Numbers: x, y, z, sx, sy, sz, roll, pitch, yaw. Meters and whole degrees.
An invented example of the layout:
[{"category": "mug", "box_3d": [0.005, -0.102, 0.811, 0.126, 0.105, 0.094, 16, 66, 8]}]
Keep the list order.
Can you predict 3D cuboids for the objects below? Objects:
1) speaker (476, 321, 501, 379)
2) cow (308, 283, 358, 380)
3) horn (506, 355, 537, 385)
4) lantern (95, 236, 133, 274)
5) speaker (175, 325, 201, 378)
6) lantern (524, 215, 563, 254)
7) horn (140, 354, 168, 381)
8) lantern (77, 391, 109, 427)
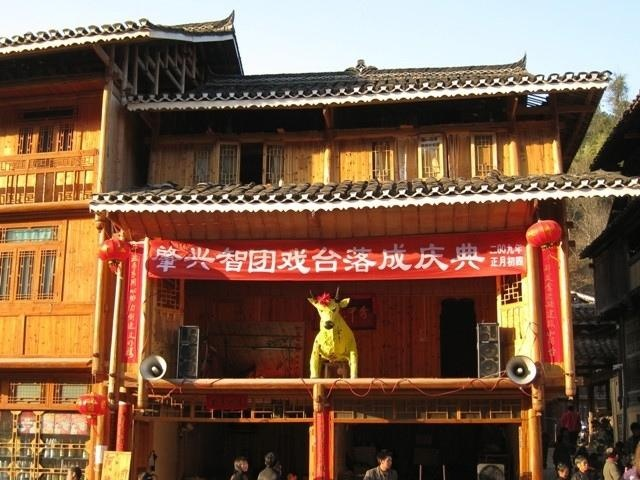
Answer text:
[{"category": "speaker", "box_3d": [3.798, 2.492, 19.828, 0.555, 1.204, 0.430, 0, -19, -1]}, {"category": "cow", "box_3d": [0.282, 2.177, 20.649, 0.925, 1.633, 2.280, -3, -37, 3]}, {"category": "horn", "box_3d": [4.351, 2.789, 19.108, 0.609, 0.632, 0.651, -7, -15, 11]}, {"category": "lantern", "box_3d": [-4.608, 0.352, 20.158, 0.696, 0.798, 0.740, -4, -3, 38]}, {"category": "speaker", "box_3d": [-3.035, 2.597, 20.365, 0.456, 1.241, 0.424, 4, -19, -13]}, {"category": "lantern", "box_3d": [4.955, -0.023, 19.304, 0.688, 0.704, 0.662, 8, -33, -23]}, {"category": "horn", "box_3d": [-3.687, 2.813, 19.594, 0.577, 0.553, 0.302, -1, -19, 4]}, {"category": "lantern", "box_3d": [-5.158, 3.843, 20.110, 0.732, 0.759, 0.743, 3, -8, -15]}]
